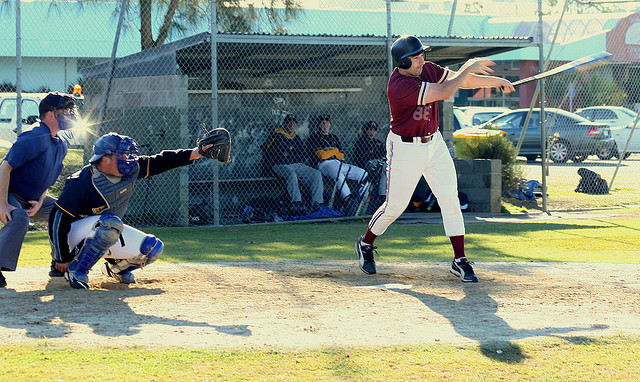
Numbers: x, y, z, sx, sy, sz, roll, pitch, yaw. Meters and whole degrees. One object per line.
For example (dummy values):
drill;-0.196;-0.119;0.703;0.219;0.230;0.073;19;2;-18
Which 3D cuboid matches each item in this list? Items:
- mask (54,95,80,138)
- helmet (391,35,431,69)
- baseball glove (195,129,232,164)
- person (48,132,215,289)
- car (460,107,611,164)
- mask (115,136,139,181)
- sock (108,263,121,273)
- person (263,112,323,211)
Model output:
mask;-2.971;-0.917;9.433;0.223;0.415;0.324;6;15;9
helmet;1.121;-1.662;9.527;0.568;0.348;0.412;-9;15;7
baseball glove;-1.232;-0.508;9.108;0.400;0.397;0.245;4;15;5
person;-2.379;0.227;9.227;1.471;1.753;0.539;-1;17;-16
car;5.428;-1.511;21.492;4.267;1.088;1.724;4;7;24
mask;-2.196;-0.349;9.096;0.188;0.504;0.245;8;16;16
sock;-2.446;0.899;9.393;0.155;0.106;0.018;8;17;19
person;-0.455;-0.509;13.923;0.844;1.505;1.141;-4;16;-23
